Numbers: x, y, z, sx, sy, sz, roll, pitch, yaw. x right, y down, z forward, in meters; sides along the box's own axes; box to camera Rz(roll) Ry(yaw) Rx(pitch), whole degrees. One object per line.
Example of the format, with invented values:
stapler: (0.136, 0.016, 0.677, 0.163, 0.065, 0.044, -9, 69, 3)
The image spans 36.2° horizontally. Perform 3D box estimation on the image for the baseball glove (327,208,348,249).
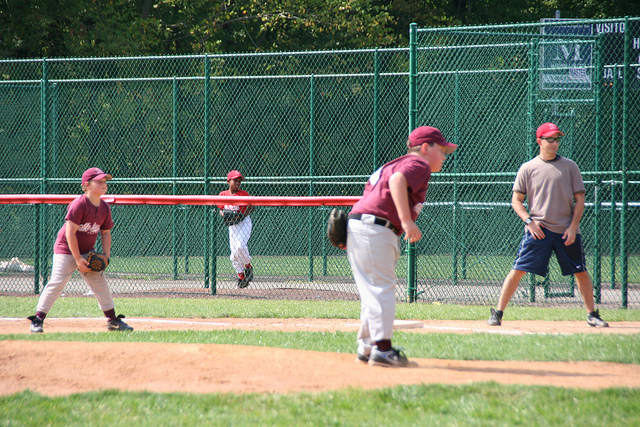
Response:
baseball glove: (0.284, 0.242, 15.521, 0.367, 0.537, 0.164, 0, 2, -21)

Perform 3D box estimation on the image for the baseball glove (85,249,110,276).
baseball glove: (-4.004, 0.879, 17.471, 0.366, 0.445, 0.327, 1, 4, -8)
